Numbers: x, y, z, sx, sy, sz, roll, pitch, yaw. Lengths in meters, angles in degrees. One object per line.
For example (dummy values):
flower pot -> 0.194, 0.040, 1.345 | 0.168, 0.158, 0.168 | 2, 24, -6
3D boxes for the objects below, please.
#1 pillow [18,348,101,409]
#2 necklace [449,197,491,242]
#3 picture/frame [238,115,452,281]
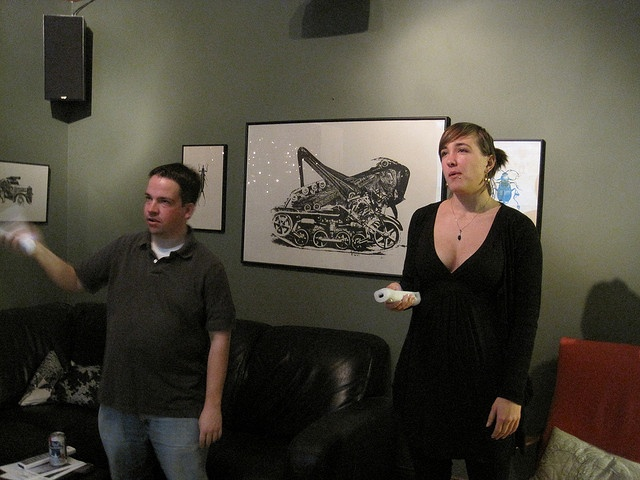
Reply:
pillow -> -1.745, 0.949, 3.408 | 0.421, 0.149, 0.427 | 16, 48, -9
necklace -> 0.662, -0.088, 2.227 | 0.152, 0.198, 0.029 | 9, -3, -21
picture/frame -> 0.192, -0.295, 3.328 | 1.056, 0.846, 0.037 | 1, 0, 20
